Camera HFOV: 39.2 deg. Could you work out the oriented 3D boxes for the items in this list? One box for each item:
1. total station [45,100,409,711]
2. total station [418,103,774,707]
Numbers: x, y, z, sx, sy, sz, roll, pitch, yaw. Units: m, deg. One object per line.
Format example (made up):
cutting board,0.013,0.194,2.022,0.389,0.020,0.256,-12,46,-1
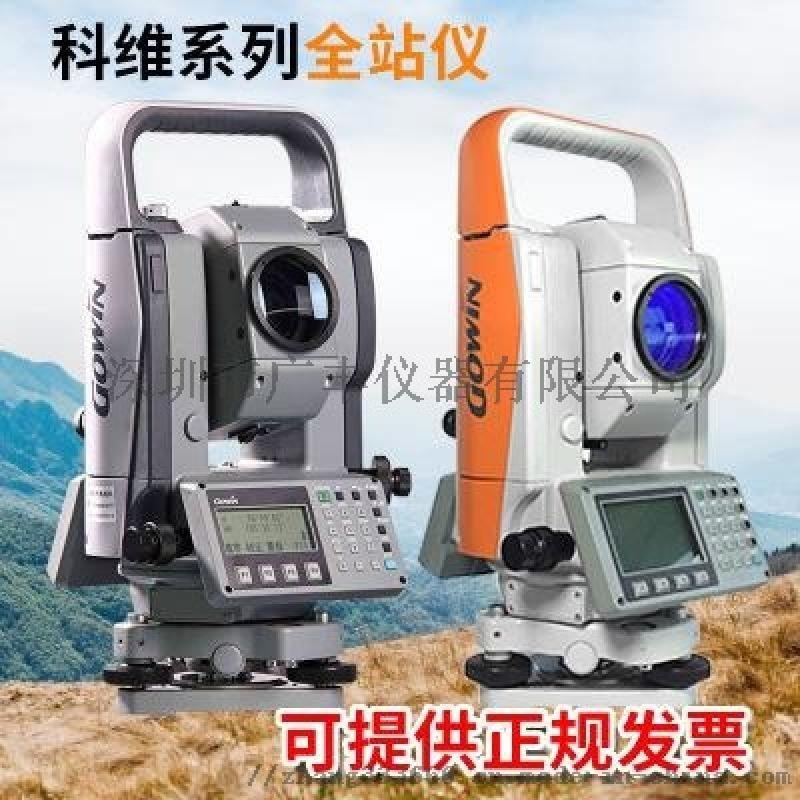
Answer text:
total station,-0.533,-0.006,3.800,1.151,2.081,1.039,-3,5,-17
total station,0.743,0.009,4.019,1.045,2.125,0.996,-3,5,-21
